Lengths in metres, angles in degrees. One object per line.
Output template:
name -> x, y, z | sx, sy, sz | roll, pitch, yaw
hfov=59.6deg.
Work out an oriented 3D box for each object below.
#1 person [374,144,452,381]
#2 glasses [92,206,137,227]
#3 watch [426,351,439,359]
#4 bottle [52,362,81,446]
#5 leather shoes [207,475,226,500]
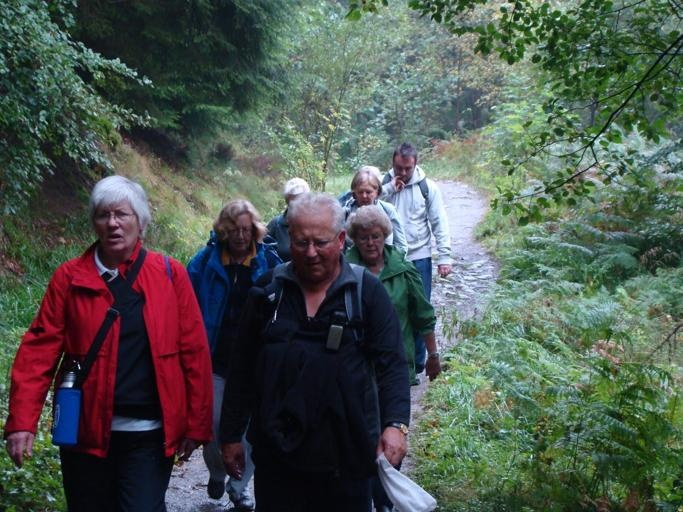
person -> 0.784, 0.054, 7.351 | 1.105, 2.772, 0.658 | -3, -10, 15
glasses -> -1.569, -0.292, 4.114 | 0.159, 0.072, 0.180 | -4, -25, -7
watch -> 0.811, 0.864, 5.246 | 0.079, 0.057, 0.076 | -1, -2, -29
bottle -> -1.818, 0.988, 3.969 | 0.184, 0.572, 0.123 | 1, -1, -9
leather shoes -> -1.118, 2.089, 5.356 | 0.092, 0.284, 0.114 | -5, 11, -8
